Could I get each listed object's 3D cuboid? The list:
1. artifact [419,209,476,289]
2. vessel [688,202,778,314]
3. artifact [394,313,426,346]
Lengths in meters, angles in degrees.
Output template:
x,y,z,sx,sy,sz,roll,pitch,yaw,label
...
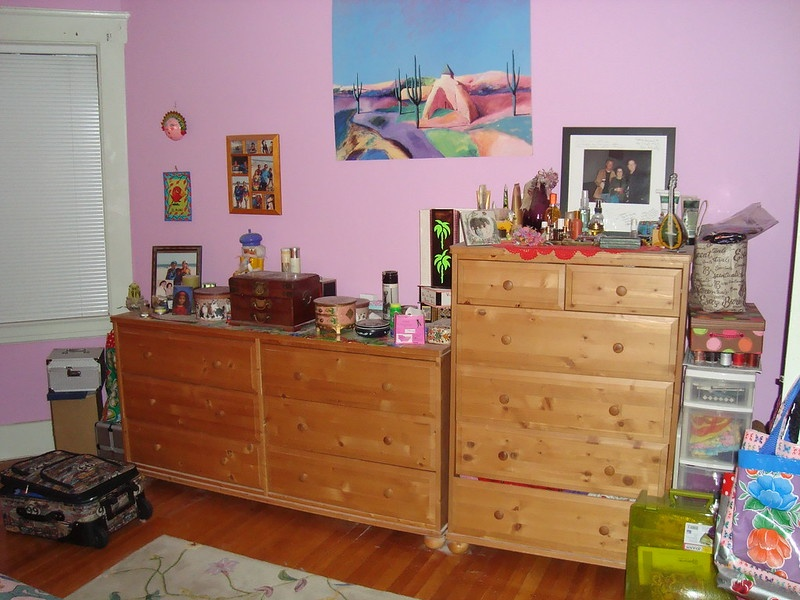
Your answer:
x,y,z,sx,sy,sz,roll,pitch,yaw,label
0.396,-0.343,4.030,0.427,0.587,0.438,2,8,15,artifact
1.715,-0.220,3.330,0.417,0.548,0.261,-3,9,-12,vessel
0.052,0.167,3.597,0.177,0.159,0.056,-1,9,1,artifact
